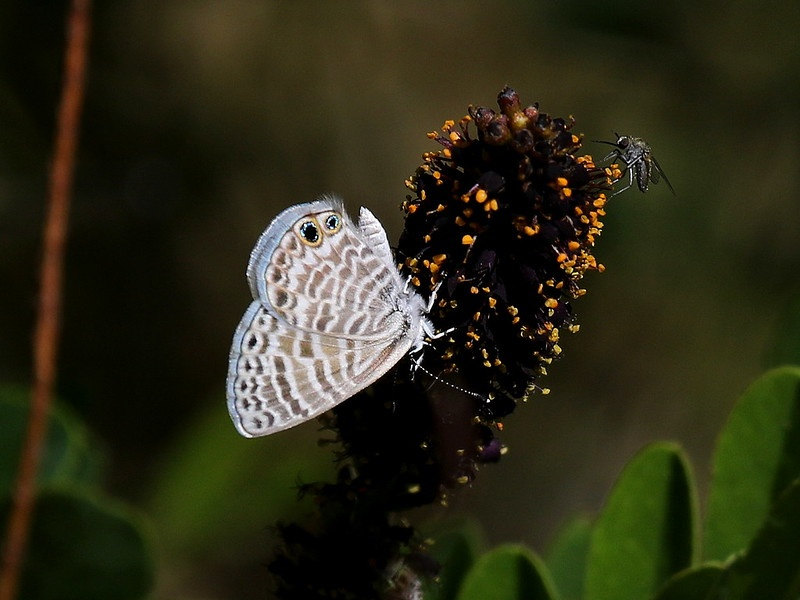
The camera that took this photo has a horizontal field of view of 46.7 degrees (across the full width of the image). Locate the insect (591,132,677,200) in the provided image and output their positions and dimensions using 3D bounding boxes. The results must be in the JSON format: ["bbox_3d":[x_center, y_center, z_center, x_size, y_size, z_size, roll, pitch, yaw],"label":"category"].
[{"bbox_3d":[0.964,-0.523,3.728,0.297,0.116,0.297,30,14,-21],"label":"insect"}]
